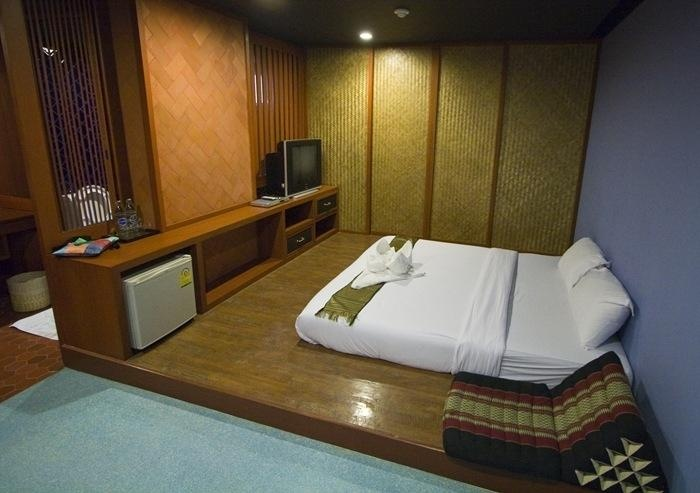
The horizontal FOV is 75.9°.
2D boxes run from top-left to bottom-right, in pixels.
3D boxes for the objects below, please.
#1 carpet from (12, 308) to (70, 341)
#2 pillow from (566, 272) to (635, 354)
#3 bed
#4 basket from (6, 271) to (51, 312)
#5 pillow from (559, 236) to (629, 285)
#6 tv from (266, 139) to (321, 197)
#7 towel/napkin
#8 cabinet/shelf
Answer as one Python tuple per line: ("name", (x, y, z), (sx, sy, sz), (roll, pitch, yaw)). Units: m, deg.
("carpet", (-2.909, 0.739, 4.202), (0.377, 0.031, 0.423), (10, 15, 20))
("pillow", (1.888, 0.496, 3.615), (0.424, 0.362, 0.983), (-2, 6, 5))
("bed", (1.056, 0.510, 3.666), (1.407, 0.296, 1.392), (6, 23, 44))
("basket", (-3.130, 0.451, 4.365), (0.331, 0.309, 0.322), (-5, 21, -22))
("pillow", (2.152, 0.179, 3.985), (0.127, 0.374, 0.418), (27, 8, -1))
("tv", (-0.783, -1.026, 5.868), (0.491, 0.727, 0.918), (6, 18, 21))
("towel/napkin", (0.332, 0.184, 4.187), (0.430, 0.162, 0.533), (-4, 22, 22))
("cabinet/shelf", (-1.176, -0.049, 4.962), (0.568, 0.683, 3.212), (9, 23, 32))
